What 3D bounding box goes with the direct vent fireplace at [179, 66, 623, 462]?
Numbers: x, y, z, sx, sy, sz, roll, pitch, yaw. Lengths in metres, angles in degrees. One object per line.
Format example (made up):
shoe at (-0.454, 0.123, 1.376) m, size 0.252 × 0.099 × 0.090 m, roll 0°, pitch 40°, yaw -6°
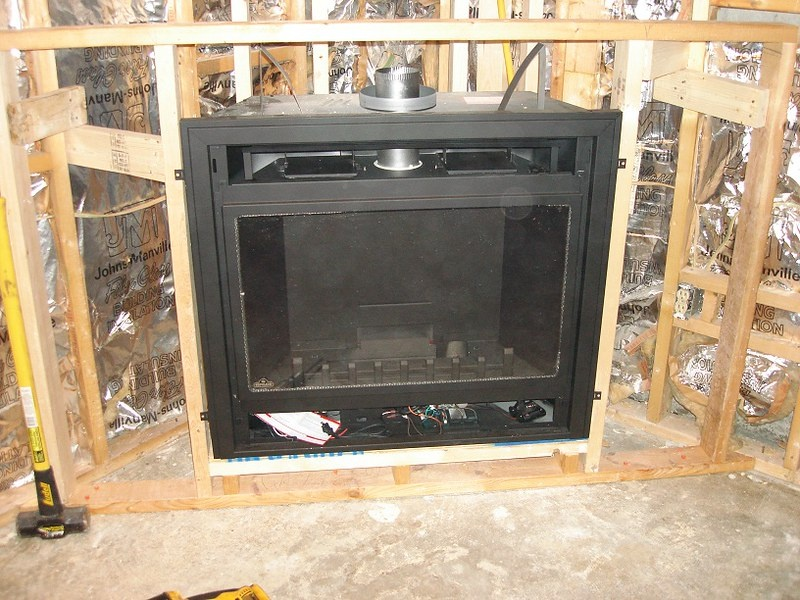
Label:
direct vent fireplace at (0.010, -0.077, 2.434) m, size 1.305 × 1.024 × 0.717 m, roll -1°, pitch 10°, yaw -1°
